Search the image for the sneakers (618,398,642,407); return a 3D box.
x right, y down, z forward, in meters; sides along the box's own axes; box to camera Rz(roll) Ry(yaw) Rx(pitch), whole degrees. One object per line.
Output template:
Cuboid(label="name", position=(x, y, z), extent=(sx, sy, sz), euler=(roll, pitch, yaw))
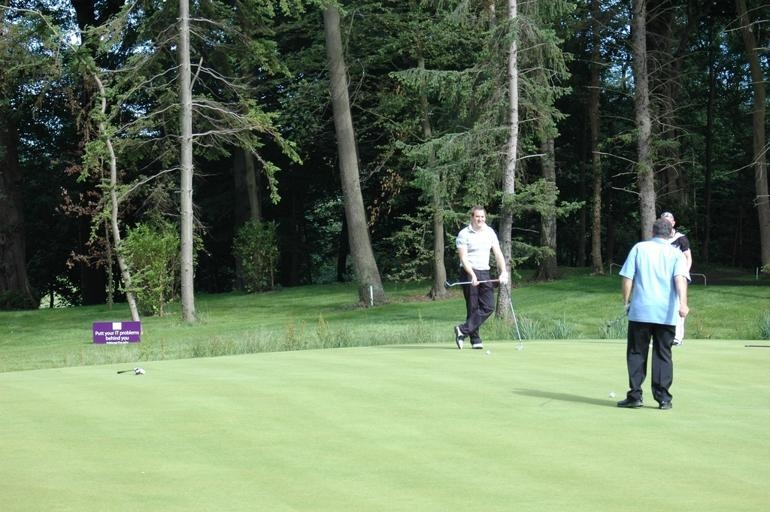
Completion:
Cuboid(label="sneakers", position=(4.087, 2.482, 15.209), extent=(0.325, 0.154, 0.156), euler=(5, 1, 17))

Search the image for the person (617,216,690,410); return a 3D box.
Cuboid(label="person", position=(4.678, 0.985, 15.702), extent=(1.147, 3.188, 1.085), euler=(4, -1, 20))

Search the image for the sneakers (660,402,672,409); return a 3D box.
Cuboid(label="sneakers", position=(4.672, 2.491, 15.138), extent=(0.179, 0.078, 0.100), euler=(8, -9, -26))

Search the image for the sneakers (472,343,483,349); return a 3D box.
Cuboid(label="sneakers", position=(1.968, 1.931, 19.399), extent=(0.090, 0.102, 0.219), euler=(1, -10, -24))

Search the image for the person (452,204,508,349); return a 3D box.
Cuboid(label="person", position=(2.044, 0.502, 19.611), extent=(1.073, 3.095, 1.075), euler=(1, 9, 3))

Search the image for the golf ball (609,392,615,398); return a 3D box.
Cuboid(label="golf ball", position=(3.913, 2.404, 15.699), extent=(0.087, 0.064, 0.089), euler=(-2, 1, 0))

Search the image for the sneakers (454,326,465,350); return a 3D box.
Cuboid(label="sneakers", position=(1.597, 1.772, 19.609), extent=(0.241, 0.513, 0.189), euler=(-2, 7, 10))
